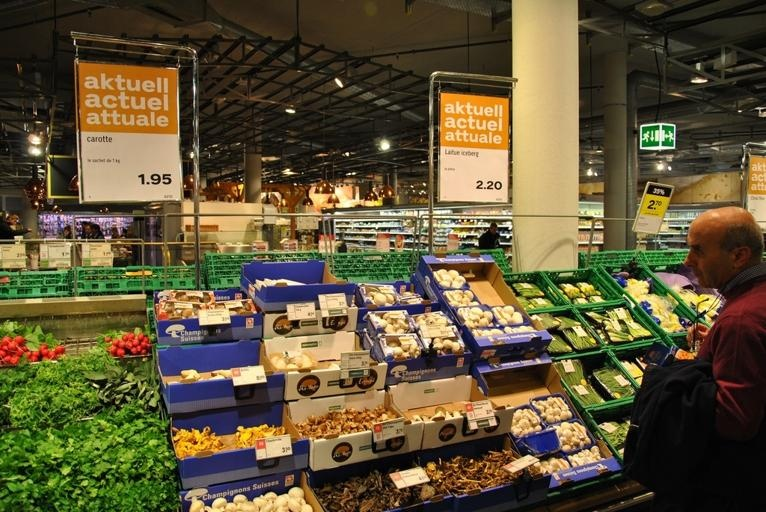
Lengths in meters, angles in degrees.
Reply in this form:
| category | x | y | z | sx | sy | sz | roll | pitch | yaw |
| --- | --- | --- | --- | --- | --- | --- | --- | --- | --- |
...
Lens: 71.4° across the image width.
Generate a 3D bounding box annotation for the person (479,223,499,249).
| category | x | y | z | sx | sy | sz | roll | pitch | yaw |
| --- | --- | --- | --- | --- | --- | --- | --- | --- | --- |
| person | 1.994 | -0.396 | 10.058 | 0.324 | 0.484 | 0.792 | -2 | 5 | 9 |
